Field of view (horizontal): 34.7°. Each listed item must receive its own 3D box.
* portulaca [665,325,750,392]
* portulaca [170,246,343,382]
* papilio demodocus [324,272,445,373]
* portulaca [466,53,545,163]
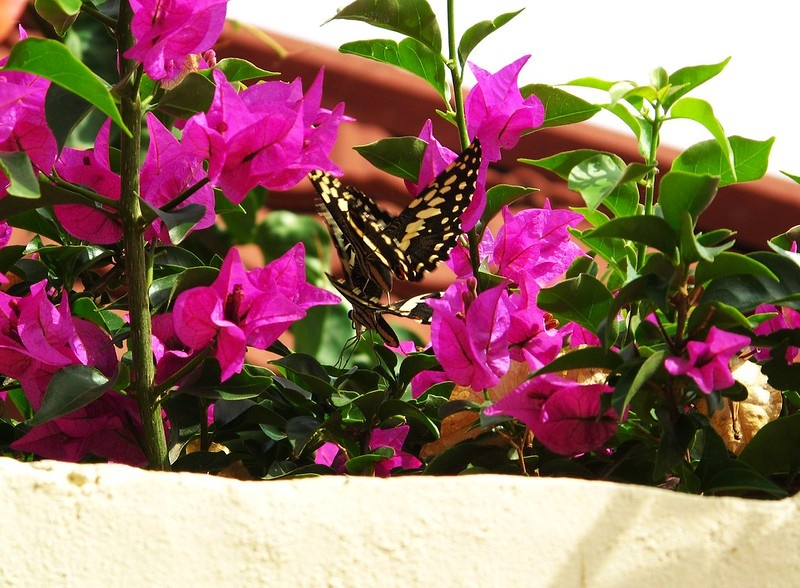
[{"bbox_3d":[0.202,0.042,0.843,0.039,0.050,0.023,-28,13,-11],"label":"portulaca"},{"bbox_3d":[-0.118,0.018,0.882,0.118,0.051,0.105,18,30,38],"label":"portulaca"},{"bbox_3d":[-0.012,0.017,0.948,0.052,0.063,0.080,-5,-5,22],"label":"papilio demodocus"},{"bbox_3d":[0.069,-0.148,0.947,0.025,0.055,0.065,-17,29,-41],"label":"portulaca"}]
